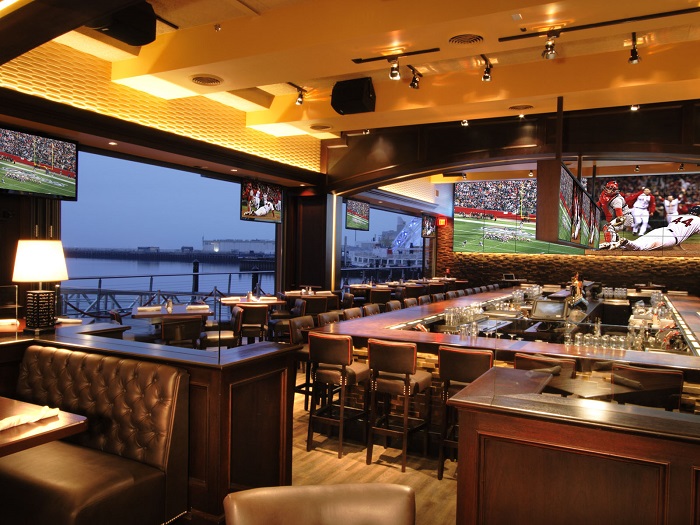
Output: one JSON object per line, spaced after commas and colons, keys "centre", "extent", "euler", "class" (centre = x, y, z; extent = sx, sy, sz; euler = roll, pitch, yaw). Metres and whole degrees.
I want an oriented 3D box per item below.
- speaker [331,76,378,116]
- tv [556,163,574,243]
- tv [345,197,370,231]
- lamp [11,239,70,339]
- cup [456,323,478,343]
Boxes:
{"centre": [0.078, -2.221, 7.312], "extent": [0.577, 0.480, 0.411], "euler": [-2, 6, 6], "class": "speaker"}
{"centre": [2.578, -0.694, 6.563], "extent": [0.112, 0.763, 1.153], "euler": [-3, -1, 29], "class": "tv"}
{"centre": [0.179, -1.125, 13.197], "extent": [0.204, 0.845, 1.340], "euler": [-1, 12, 21], "class": "tv"}
{"centre": [-2.650, 0.216, 4.667], "extent": [0.477, 0.793, 0.441], "euler": [-2, -3, -21], "class": "lamp"}
{"centre": [1.132, 0.683, 5.307], "extent": [0.172, 0.207, 0.173], "euler": [1, 9, 0], "class": "cup"}
